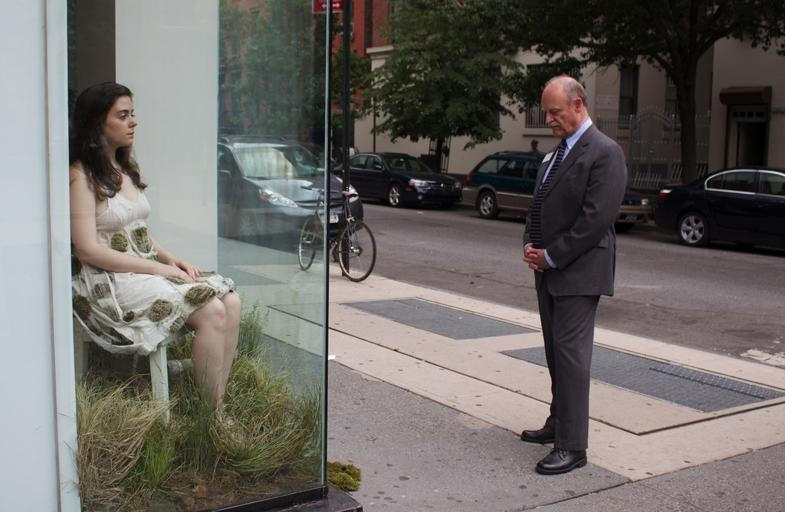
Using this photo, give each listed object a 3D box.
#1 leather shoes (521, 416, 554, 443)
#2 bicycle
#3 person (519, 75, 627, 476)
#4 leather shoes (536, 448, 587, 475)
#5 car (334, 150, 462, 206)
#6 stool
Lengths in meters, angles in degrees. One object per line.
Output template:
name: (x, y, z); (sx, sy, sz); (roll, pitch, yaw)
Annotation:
leather shoes: (1.064, 1.261, 5.721); (0.274, 0.189, 0.125); (3, -2, 12)
bicycle: (-0.623, -0.254, 10.482); (0.683, 0.860, 1.298); (-2, 8, -27)
person: (1.154, 0.107, 5.286); (0.596, 2.558, 0.630); (8, 14, 37)
leather shoes: (1.128, 1.372, 5.301); (0.330, 0.175, 0.145); (3, -2, -22)
car: (-0.015, -2.347, 24.121); (1.552, 1.282, 3.596); (-2, 6, -35)
stool: (-1.494, 0.653, 4.394); (0.492, 0.640, 0.631); (-7, 10, -42)
